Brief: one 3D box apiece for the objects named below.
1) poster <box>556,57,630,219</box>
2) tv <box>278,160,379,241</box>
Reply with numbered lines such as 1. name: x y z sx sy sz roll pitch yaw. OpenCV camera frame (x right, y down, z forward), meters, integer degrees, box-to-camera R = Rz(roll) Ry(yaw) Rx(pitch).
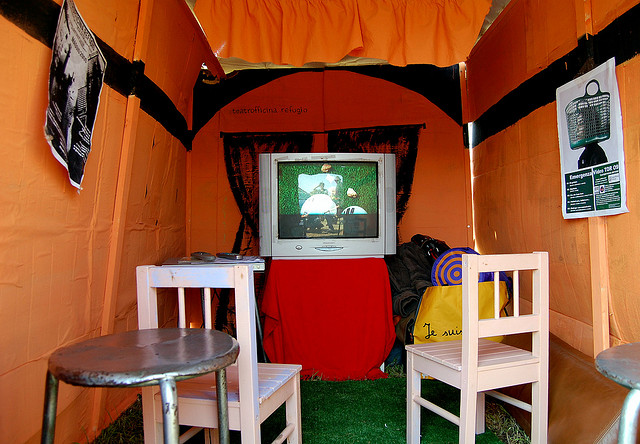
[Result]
1. poster: 1.415 -0.411 2.435 0.084 0.768 0.407 2 -1 -11
2. tv: 0.060 -0.169 3.591 0.865 0.816 0.496 0 -4 -1
